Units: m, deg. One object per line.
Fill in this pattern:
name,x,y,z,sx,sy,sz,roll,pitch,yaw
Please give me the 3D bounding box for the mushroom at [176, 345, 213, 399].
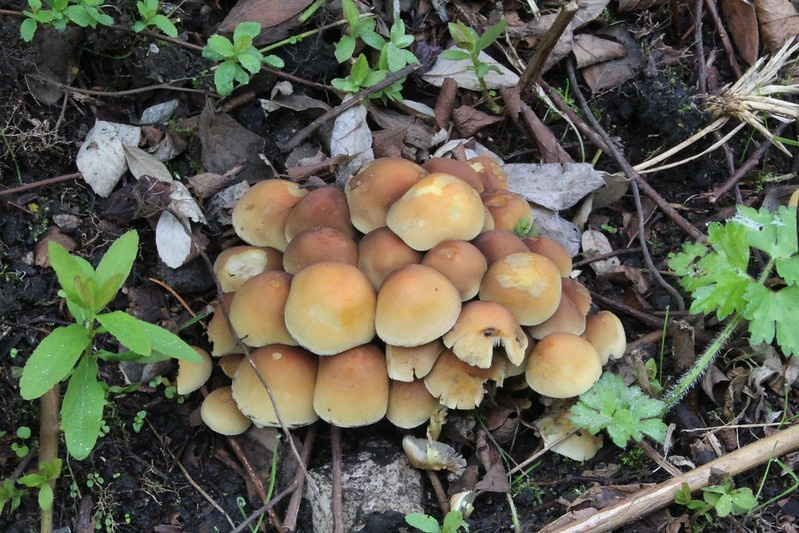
mushroom,-1.360,0.734,4.612,0.280,0.350,0.210,-8,-68,-8
